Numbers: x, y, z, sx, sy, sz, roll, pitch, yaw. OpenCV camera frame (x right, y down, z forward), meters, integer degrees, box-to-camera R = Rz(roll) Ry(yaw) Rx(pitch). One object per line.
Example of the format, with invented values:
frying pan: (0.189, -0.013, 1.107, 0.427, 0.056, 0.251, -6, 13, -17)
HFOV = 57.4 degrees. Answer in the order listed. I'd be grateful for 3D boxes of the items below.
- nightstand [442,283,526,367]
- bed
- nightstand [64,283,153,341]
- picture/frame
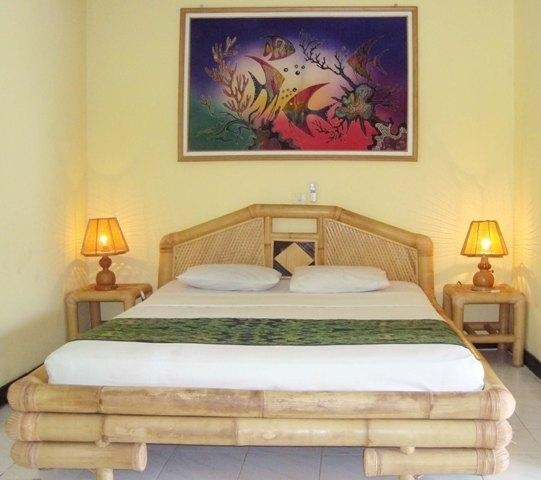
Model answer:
nightstand: (1.621, 0.631, 3.826, 0.668, 0.559, 0.611, 0, 1, 3)
bed: (0.079, 0.588, 2.982, 1.963, 0.859, 1.805, 0, 8, 8)
nightstand: (-1.239, 0.562, 3.813, 0.533, 0.418, 0.480, 0, 4, -1)
picture/frame: (0.309, -1.289, 3.954, 1.559, 0.790, 0.032, 0, 1, 2)
